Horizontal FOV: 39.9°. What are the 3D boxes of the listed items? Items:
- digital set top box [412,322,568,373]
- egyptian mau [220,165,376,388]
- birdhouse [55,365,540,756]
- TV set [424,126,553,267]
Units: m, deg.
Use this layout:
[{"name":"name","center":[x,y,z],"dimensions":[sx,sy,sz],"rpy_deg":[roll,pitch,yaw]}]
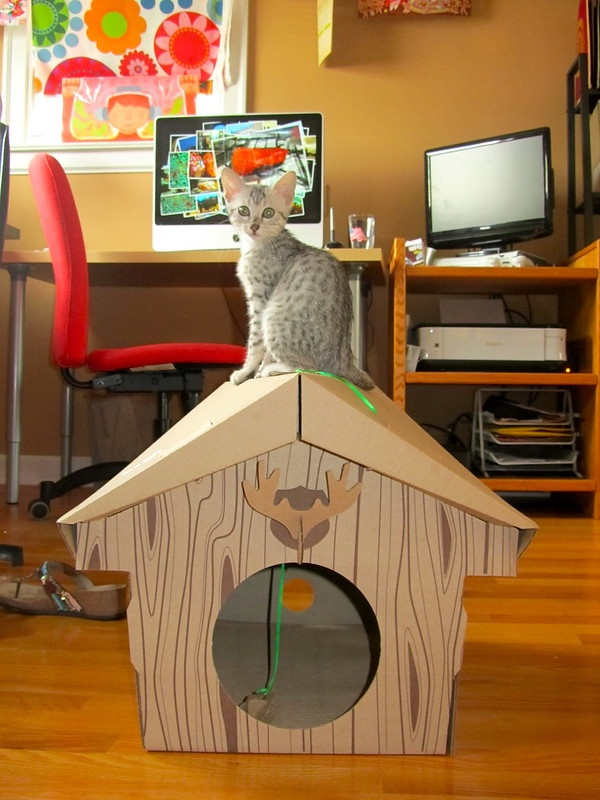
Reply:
[{"name":"digital set top box","center":[0.510,-0.153,2.195],"dimensions":[0.367,0.128,0.244],"rpy_deg":[0,9,-5]},{"name":"egyptian mau","center":[-0.018,-0.225,1.347],"dimensions":[0.202,0.368,0.569],"rpy_deg":[0,7,-7]},{"name":"birdhouse","center":[0.006,0.151,1.012],"dimensions":[0.477,0.396,0.416],"rpy_deg":[1,7,3]},{"name":"TV set","center":[0.562,-0.575,2.410],"dimensions":[0.415,0.361,0.224],"rpy_deg":[3,12,41]}]
